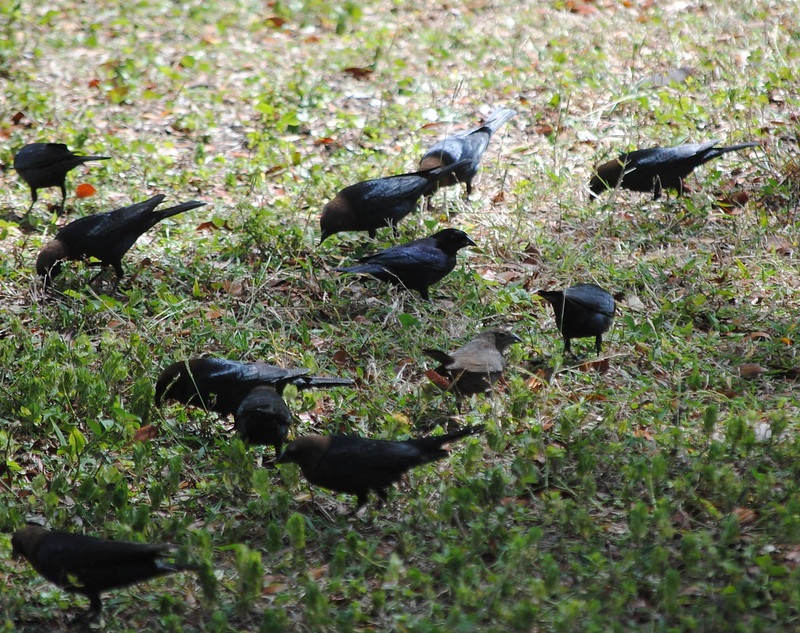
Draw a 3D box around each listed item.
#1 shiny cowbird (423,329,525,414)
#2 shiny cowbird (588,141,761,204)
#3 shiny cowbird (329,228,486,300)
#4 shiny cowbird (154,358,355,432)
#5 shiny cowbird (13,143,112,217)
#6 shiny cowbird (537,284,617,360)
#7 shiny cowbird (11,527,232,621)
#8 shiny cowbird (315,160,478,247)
[{"bbox_3d":[0.411,0.288,5.789,0.762,0.418,0.386,5,-3,-42],"label":"shiny cowbird"},{"bbox_3d":[2.383,-1.260,7.560,0.435,0.393,1.477,-4,2,-31],"label":"shiny cowbird"},{"bbox_3d":[0.089,-0.340,6.763,1.029,0.419,0.346,-19,46,-18],"label":"shiny cowbird"},{"bbox_3d":[-0.937,0.437,5.728,1.290,0.348,0.324,-5,-1,-29],"label":"shiny cowbird"},{"bbox_3d":[-2.778,-1.167,7.458,1.207,0.534,0.419,-10,-12,37],"label":"shiny cowbird"},{"bbox_3d":[1.214,-0.037,5.958,0.395,0.369,0.354,-29,49,-23],"label":"shiny cowbird"},{"bbox_3d":[-1.425,1.175,4.367,0.999,0.282,0.368,-11,74,12],"label":"shiny cowbird"},{"bbox_3d":[0.089,-0.899,7.194,1.575,0.474,0.419,-23,37,-17],"label":"shiny cowbird"}]
